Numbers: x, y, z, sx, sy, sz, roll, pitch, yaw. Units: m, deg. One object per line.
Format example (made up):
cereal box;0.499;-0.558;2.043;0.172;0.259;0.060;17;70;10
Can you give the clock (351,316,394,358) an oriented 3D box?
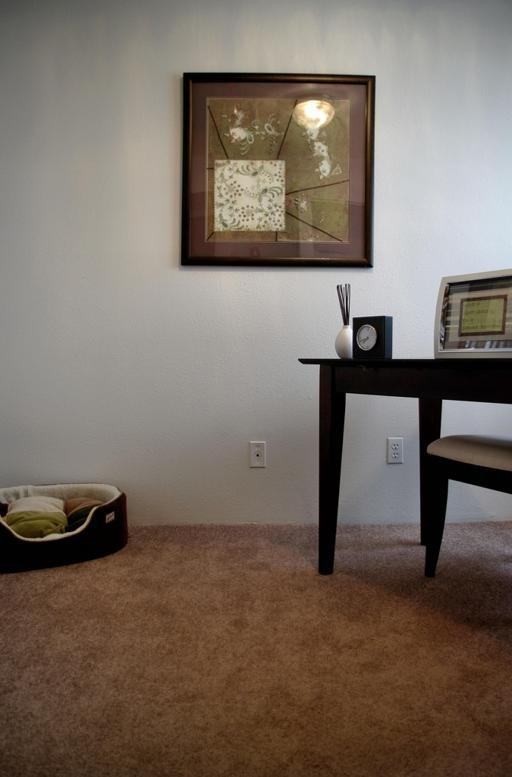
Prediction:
clock;0.317;-0.141;1.661;0.045;0.123;0.110;3;-1;-34

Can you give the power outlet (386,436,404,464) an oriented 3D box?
power outlet;0.503;0.228;2.203;0.081;0.134;0.022;1;2;2

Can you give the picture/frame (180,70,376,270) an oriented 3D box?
picture/frame;0.055;-0.800;2.143;0.590;0.687;0.030;0;1;-8
